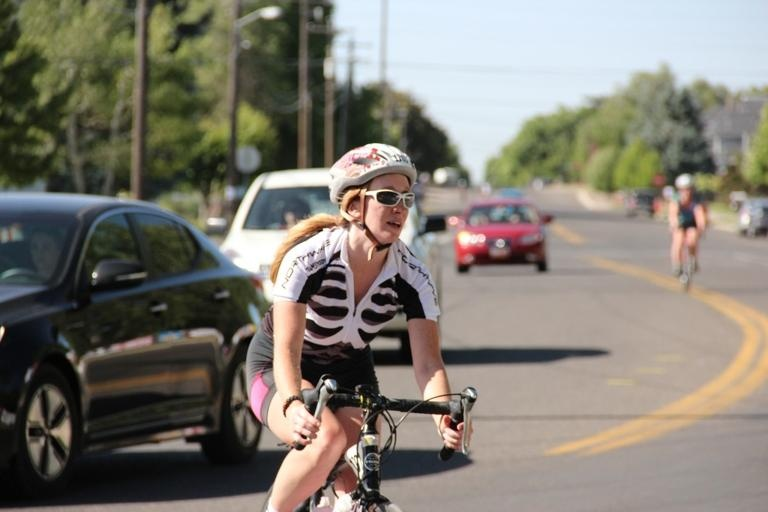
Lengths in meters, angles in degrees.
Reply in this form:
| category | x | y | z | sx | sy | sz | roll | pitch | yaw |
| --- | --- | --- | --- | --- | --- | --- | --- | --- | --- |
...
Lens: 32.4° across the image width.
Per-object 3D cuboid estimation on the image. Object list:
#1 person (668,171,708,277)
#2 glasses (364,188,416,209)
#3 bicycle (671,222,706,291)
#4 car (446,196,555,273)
| category | x | y | z | sx | sy | sz | roll | pitch | yaw |
| --- | --- | --- | --- | --- | --- | --- | --- | --- | --- |
| person | 2.988 | -0.335 | 13.025 | 0.321 | 1.023 | 1.022 | 3 | 0 | 12 |
| glasses | 0.042 | -0.383 | 8.672 | 0.335 | 0.137 | 0.138 | -3 | 11 | -9 |
| bicycle | 2.973 | 0.023 | 12.987 | 0.278 | 0.704 | 0.398 | 2 | 11 | 14 |
| car | 1.689 | -0.355 | 19.271 | 1.057 | 0.866 | 2.422 | 0 | -5 | 4 |
